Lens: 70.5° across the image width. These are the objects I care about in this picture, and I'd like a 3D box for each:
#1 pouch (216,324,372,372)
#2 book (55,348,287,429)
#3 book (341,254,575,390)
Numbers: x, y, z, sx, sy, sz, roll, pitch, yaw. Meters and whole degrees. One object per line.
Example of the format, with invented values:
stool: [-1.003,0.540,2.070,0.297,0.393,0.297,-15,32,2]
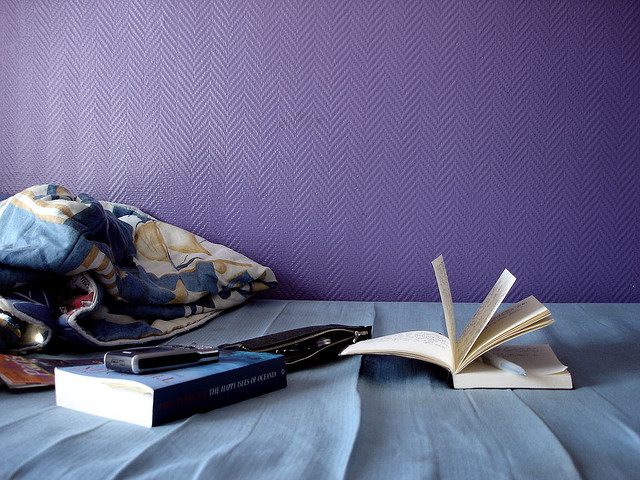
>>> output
pouch: [-0.051,0.235,1.036,0.284,0.065,0.190,-2,-7,-20]
book: [-0.260,0.254,0.829,0.388,0.065,0.362,-3,-6,9]
book: [0.296,0.180,0.973,0.407,0.195,0.293,-1,-2,16]
